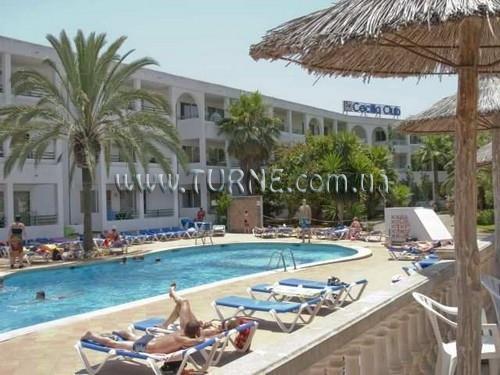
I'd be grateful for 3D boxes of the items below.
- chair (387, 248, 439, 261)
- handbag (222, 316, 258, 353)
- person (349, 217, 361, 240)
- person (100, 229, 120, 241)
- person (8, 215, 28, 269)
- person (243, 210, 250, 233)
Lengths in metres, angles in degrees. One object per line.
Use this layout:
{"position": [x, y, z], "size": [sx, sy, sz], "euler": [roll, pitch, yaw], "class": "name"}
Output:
{"position": [4.774, 2.145, 18.657], "size": [1.074, 0.341, 0.692], "euler": [0, 1, 5], "class": "chair"}
{"position": [-0.186, 2.493, 10.149], "size": [0.540, 0.675, 0.500], "euler": [1, -4, -11], "class": "handbag"}
{"position": [4.417, 1.792, 25.800], "size": [0.516, 0.949, 0.972], "euler": [-3, -3, 8], "class": "person"}
{"position": [-5.432, 1.927, 23.639], "size": [0.700, 0.427, 1.043], "euler": [2, 1, -9], "class": "person"}
{"position": [-7.365, 1.754, 19.055], "size": [0.470, 1.589, 1.629], "euler": [-2, -4, -22], "class": "person"}
{"position": [-0.226, 1.771, 30.572], "size": [0.334, 1.177, 0.911], "euler": [-2, -3, -1], "class": "person"}
